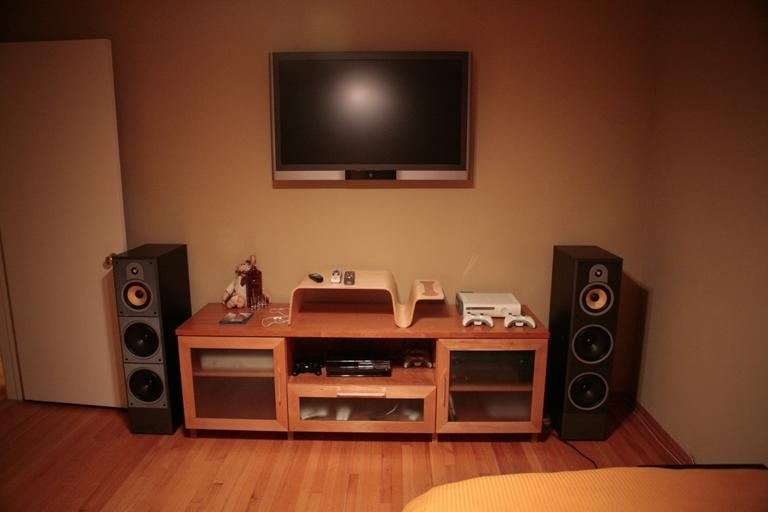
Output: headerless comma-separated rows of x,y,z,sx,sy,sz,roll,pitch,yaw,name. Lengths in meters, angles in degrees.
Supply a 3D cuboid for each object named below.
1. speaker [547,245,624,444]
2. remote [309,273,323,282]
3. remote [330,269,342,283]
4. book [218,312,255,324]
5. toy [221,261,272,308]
1.308,0.574,3.914,0.463,1.215,0.441,3,12,20,speaker
-0.453,0.143,3.900,0.071,0.043,0.150,-6,12,-24,remote
-0.315,0.135,3.859,0.056,0.038,0.099,-1,22,1,remote
-0.967,0.410,3.887,0.199,0.030,0.268,1,7,-1,book
-0.916,0.168,4.063,0.292,0.382,0.198,1,14,-43,toy
